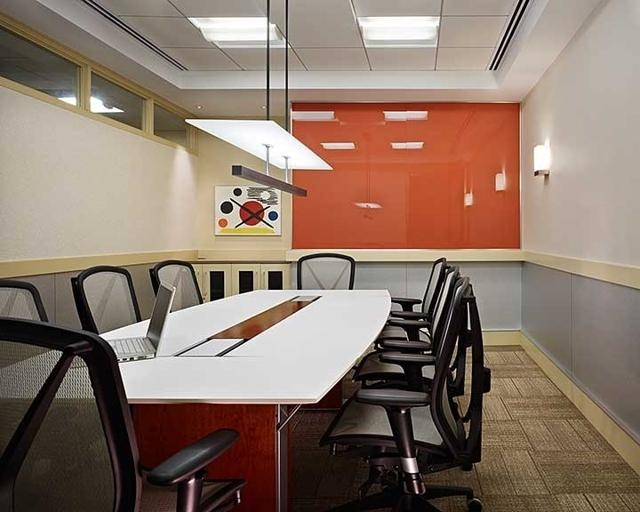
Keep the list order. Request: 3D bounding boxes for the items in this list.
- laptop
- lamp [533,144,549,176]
[{"bbox_3d":[-0.941,0.297,2.220,0.401,0.294,0.400,-1,4,-8],"label":"laptop"},{"bbox_3d":[2.164,-0.945,4.383,0.107,0.319,0.228,1,6,14],"label":"lamp"}]
